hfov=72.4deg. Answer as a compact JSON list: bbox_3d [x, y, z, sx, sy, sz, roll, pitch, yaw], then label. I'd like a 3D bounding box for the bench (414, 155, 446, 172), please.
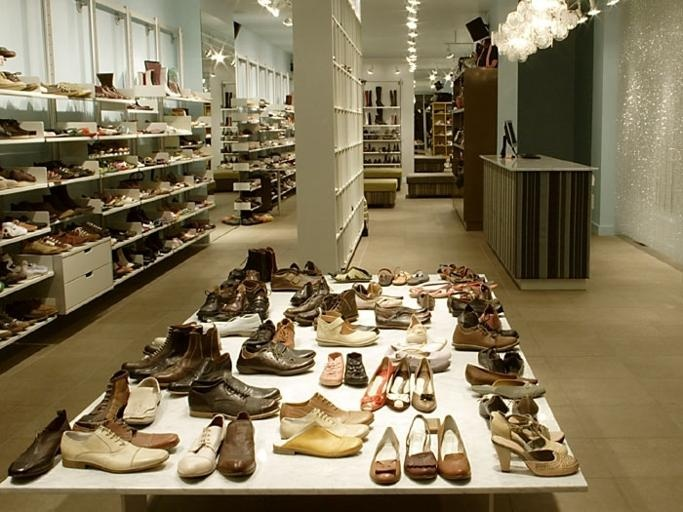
[{"bbox_3d":[3.545,-3.671,18.702,0.913,0.426,0.903,1,13,5],"label":"bench"}]

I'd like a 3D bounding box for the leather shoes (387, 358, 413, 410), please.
[{"bbox_3d":[0.258,0.581,2.090,0.080,0.083,0.235,-1,16,10],"label":"leather shoes"}]

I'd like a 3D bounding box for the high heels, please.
[{"bbox_3d":[0.651,0.665,1.586,0.258,0.101,0.136,-2,9,8],"label":"high heels"}]

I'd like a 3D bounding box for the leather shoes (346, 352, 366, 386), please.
[{"bbox_3d":[0.068,0.543,2.276,0.111,0.101,0.293,-2,2,-1],"label":"leather shoes"}]

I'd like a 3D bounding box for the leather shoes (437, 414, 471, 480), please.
[{"bbox_3d":[0.388,0.676,1.654,0.111,0.095,0.376,-7,-1,10],"label":"leather shoes"}]

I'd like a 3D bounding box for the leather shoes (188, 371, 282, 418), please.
[{"bbox_3d":[-0.441,0.559,1.939,0.322,0.121,0.163,2,7,2],"label":"leather shoes"}]

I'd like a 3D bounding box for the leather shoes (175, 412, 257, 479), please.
[{"bbox_3d":[-0.409,0.663,1.638,0.257,0.084,0.278,0,13,5],"label":"leather shoes"}]

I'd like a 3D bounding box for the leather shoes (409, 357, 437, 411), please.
[{"bbox_3d":[0.365,0.568,2.052,0.080,0.082,0.234,-1,12,5],"label":"leather shoes"}]

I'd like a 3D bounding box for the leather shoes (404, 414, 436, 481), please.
[{"bbox_3d":[0.274,0.676,1.656,0.104,0.076,0.335,-3,5,7],"label":"leather shoes"}]

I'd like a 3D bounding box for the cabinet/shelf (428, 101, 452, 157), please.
[{"bbox_3d":[4.953,-6.311,23.178,0.812,2.582,1.601,-5,13,-16],"label":"cabinet/shelf"}]

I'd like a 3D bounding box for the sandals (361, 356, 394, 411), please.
[{"bbox_3d":[0.159,0.580,2.105,0.098,0.075,0.316,3,20,18],"label":"sandals"}]

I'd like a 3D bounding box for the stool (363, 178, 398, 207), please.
[{"bbox_3d":[1.081,-1.720,12.916,0.824,0.512,0.801,0,15,2],"label":"stool"}]

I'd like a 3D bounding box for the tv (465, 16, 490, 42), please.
[{"bbox_3d":[3.152,-5.201,10.742,0.467,0.618,0.886,1,13,8],"label":"tv"}]

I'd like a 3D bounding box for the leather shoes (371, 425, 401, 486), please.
[{"bbox_3d":[0.160,0.691,1.634,0.095,0.061,0.403,-7,-5,8],"label":"leather shoes"}]

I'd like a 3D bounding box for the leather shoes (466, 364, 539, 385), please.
[{"bbox_3d":[0.710,0.524,2.157,0.358,0.102,0.116,-1,4,9],"label":"leather shoes"}]

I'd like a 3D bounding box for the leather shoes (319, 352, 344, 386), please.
[{"bbox_3d":[-0.035,0.555,2.289,0.108,0.100,0.287,0,2,7],"label":"leather shoes"}]

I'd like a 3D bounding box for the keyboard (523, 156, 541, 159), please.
[{"bbox_3d":[3.005,-1.539,7.323,0.154,0.030,0.144,0,6,3],"label":"keyboard"}]

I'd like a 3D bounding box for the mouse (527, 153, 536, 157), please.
[{"bbox_3d":[3.032,-1.596,7.453,0.121,0.048,0.331,4,14,20],"label":"mouse"}]

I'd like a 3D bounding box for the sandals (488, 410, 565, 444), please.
[{"bbox_3d":[0.675,0.625,1.690,0.242,0.068,0.144,-3,4,13],"label":"sandals"}]

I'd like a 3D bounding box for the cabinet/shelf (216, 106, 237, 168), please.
[{"bbox_3d":[-3.001,-3.456,12.650,0.377,1.098,1.183,-17,20,-16],"label":"cabinet/shelf"}]
